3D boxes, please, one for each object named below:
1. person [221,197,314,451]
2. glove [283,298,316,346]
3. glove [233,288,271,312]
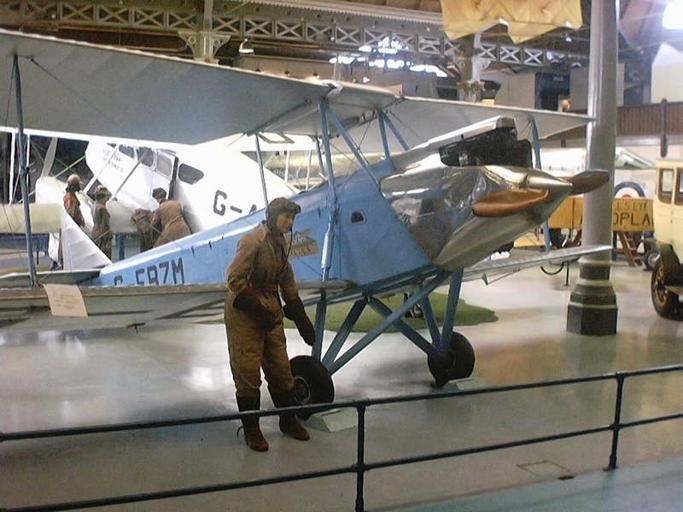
[{"bbox_3d":[-0.577,0.526,5.335,0.689,1.983,0.438,-8,8,-41],"label":"person"},{"bbox_3d":[-0.406,0.454,5.657,0.214,0.218,0.730,4,21,-17],"label":"glove"},{"bbox_3d":[-0.719,0.343,5.125,0.247,0.192,0.080,-1,6,17],"label":"glove"}]
